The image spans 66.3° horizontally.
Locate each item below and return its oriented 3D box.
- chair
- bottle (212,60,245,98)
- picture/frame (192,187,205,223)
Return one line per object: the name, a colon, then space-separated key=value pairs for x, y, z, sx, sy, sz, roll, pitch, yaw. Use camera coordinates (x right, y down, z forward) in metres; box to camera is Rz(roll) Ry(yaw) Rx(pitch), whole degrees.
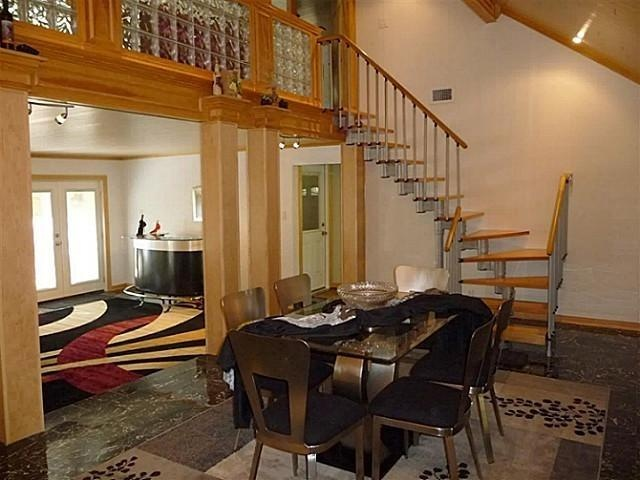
chair: x=0.563 y=0.984 z=4.257 sx=1.994 sy=1.212 sz=2.265 roll=0 pitch=8 yaw=17
bottle: x=-1.019 y=-1.774 z=5.429 sx=0.385 sy=0.409 sz=0.389 roll=12 pitch=19 yaw=29
picture/frame: x=-2.400 y=-0.706 z=9.593 sx=0.107 sy=0.709 sz=0.313 roll=-8 pitch=10 yaw=-33
